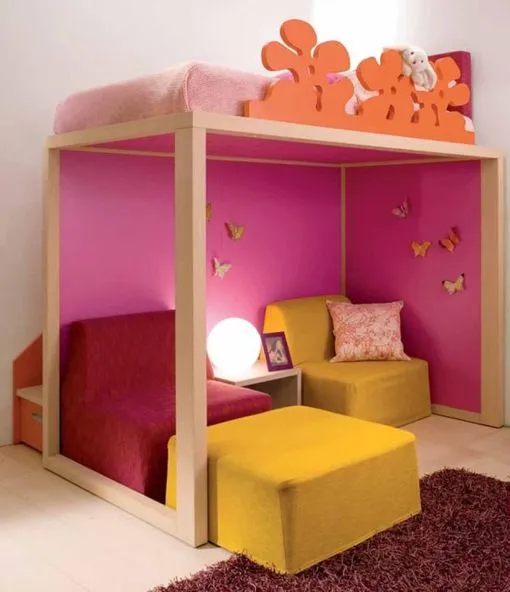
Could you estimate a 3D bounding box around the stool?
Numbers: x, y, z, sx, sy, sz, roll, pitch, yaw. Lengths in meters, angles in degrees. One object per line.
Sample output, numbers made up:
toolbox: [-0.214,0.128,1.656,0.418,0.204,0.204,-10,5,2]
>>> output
stool: [0.070,0.548,1.869,0.538,0.238,0.530,-5,4,-37]

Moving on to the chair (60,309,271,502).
chair: [-0.474,0.464,2.665,0.803,0.797,0.840,1,3,45]

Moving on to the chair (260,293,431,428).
chair: [0.618,0.423,3.643,0.851,0.926,0.879,-3,4,-39]

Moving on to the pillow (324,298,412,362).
pillow: [0.779,0.251,3.590,0.342,0.342,0.136,-2,-25,-6]

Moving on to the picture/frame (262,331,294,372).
picture/frame: [0.147,0.363,3.327,0.219,0.319,0.023,6,-37,-33]
